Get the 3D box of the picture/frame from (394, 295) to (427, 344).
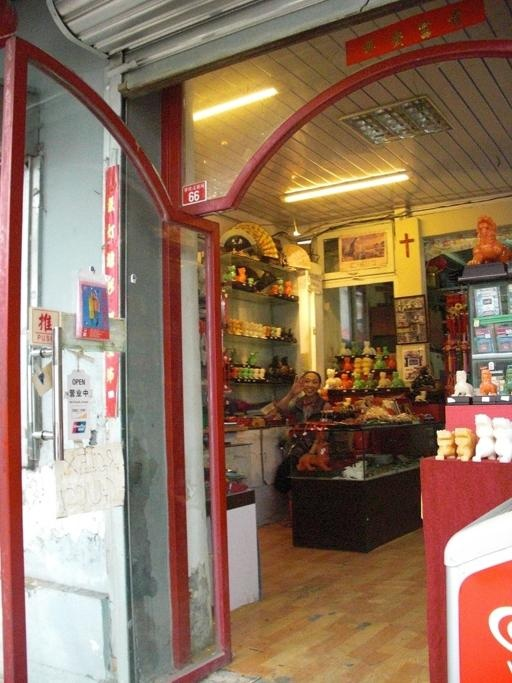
[{"bbox_3d":[2.048,-0.271,7.772,0.402,0.611,0.227,-4,-9,16],"label":"picture/frame"}]
